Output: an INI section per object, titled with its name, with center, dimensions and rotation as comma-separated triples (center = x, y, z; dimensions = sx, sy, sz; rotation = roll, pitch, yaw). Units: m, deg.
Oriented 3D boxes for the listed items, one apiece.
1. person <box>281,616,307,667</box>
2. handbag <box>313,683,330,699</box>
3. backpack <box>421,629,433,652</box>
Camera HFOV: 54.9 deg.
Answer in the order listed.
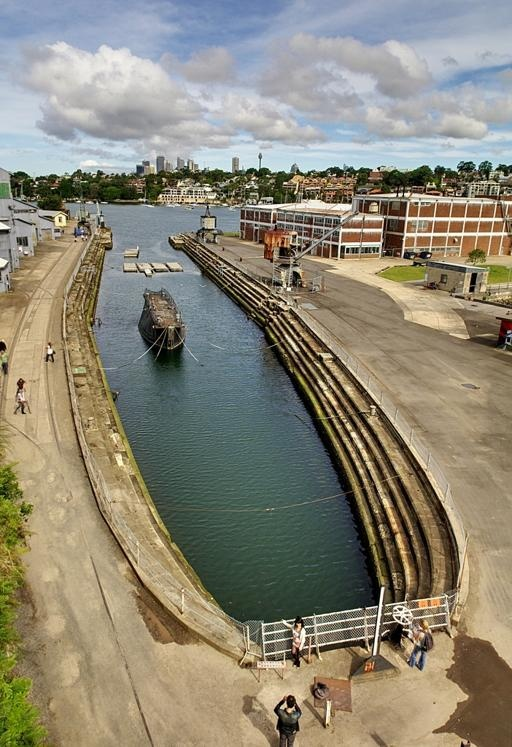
[person]
center = 0.942, 6.926, 12.595
dimensions = 0.625, 1.344, 0.368
rotation = 3, 6, 22
[handbag]
center = 1.487, 7.279, 11.322
dimensions = 0.326, 0.169, 0.436
rotation = 0, 3, -1
[backpack]
center = 4.447, 7.006, 12.783
dimensions = 0.272, 0.672, 0.373
rotation = 9, 15, 22
